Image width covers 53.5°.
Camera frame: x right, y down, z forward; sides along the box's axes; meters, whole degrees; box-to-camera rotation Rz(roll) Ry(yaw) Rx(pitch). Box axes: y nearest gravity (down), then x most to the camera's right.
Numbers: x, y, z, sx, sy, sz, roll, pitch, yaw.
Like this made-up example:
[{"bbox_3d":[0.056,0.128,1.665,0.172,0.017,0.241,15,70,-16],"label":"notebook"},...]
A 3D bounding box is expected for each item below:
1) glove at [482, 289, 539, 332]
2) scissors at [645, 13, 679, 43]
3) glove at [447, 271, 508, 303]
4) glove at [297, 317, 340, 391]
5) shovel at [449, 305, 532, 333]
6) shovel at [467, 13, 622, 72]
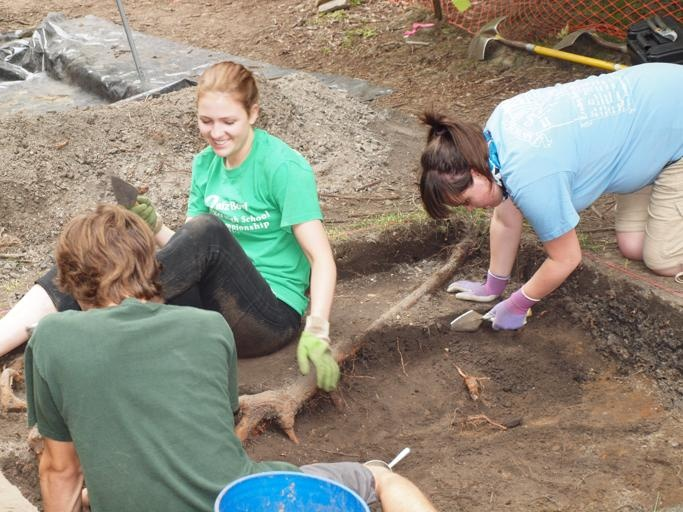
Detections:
[{"bbox_3d":[0.985,0.324,3.916,0.316,0.221,0.113,-41,12,45],"label":"glove"},{"bbox_3d":[2.093,-1.473,4.406,0.125,0.033,0.236,-21,43,2],"label":"scissors"},{"bbox_3d":[0.866,0.179,4.295,0.354,0.134,0.200,9,19,32],"label":"glove"},{"bbox_3d":[-0.111,0.480,3.338,0.133,0.337,0.264,-22,14,12],"label":"glove"},{"bbox_3d":[0.851,0.397,4.094,0.597,0.079,0.131,-10,55,13],"label":"shovel"},{"bbox_3d":[1.839,-1.978,6.344,1.837,0.091,0.581,20,78,41],"label":"shovel"}]
